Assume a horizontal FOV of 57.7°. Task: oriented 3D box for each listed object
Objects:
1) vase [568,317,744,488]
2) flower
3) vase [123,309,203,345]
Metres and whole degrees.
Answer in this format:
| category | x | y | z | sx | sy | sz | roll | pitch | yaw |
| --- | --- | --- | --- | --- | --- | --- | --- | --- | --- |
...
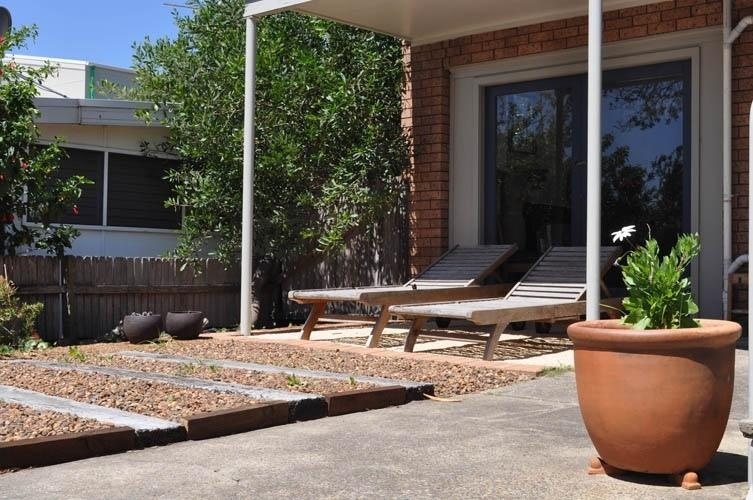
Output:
| category | x | y | z | sx | sy | sz | roll | pitch | yaw |
| --- | --- | --- | --- | --- | --- | --- | --- | --- | --- |
| vase | 1.741 | 0.990 | 4.336 | 1.000 | 0.857 | 1.027 | 1 | -6 | 6 |
| flower | 1.735 | 0.200 | 4.159 | 0.473 | 0.588 | 0.421 | 1 | 5 | 5 |
| vase | -2.875 | 1.029 | 9.166 | 0.822 | 0.279 | 0.486 | 0 | -4 | 2 |
